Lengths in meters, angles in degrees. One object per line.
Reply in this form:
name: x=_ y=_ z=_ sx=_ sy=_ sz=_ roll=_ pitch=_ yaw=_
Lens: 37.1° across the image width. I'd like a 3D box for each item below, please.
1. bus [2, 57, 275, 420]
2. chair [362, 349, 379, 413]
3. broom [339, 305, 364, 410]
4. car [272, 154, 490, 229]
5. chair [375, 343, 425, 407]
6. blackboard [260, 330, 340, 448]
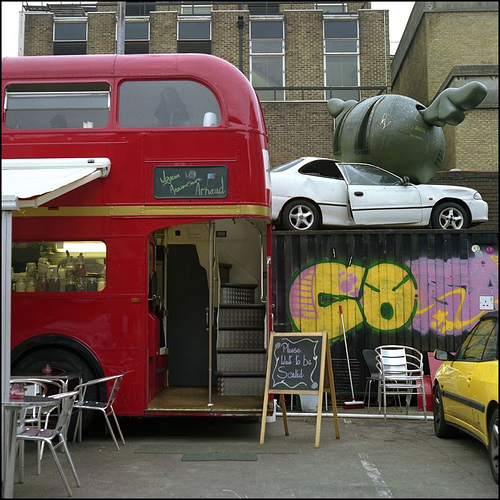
bus: x=-1.521 y=-0.118 z=9.657 sx=5.013 sy=5.193 sz=1.863 roll=0 pitch=-1 yaw=-1
chair: x=2.029 y=2.147 z=12.300 sx=0.393 sy=0.890 sz=0.398 roll=2 pitch=4 yaw=-5
broom: x=1.665 y=1.757 z=12.256 sx=0.392 sy=1.666 sz=0.592 roll=-1 pitch=-2 yaw=8
car: x=2.245 y=-0.959 z=13.777 sx=2.926 sy=0.952 sz=1.582 roll=-1 pitch=3 yaw=-3
chair: x=2.329 y=1.973 z=11.679 sx=0.751 sy=1.090 sz=0.841 roll=-7 pitch=-16 yaw=21
blackboard: x=0.623 y=1.747 z=9.466 sx=0.949 sy=1.411 sz=0.949 roll=-1 pitch=-2 yaw=10
